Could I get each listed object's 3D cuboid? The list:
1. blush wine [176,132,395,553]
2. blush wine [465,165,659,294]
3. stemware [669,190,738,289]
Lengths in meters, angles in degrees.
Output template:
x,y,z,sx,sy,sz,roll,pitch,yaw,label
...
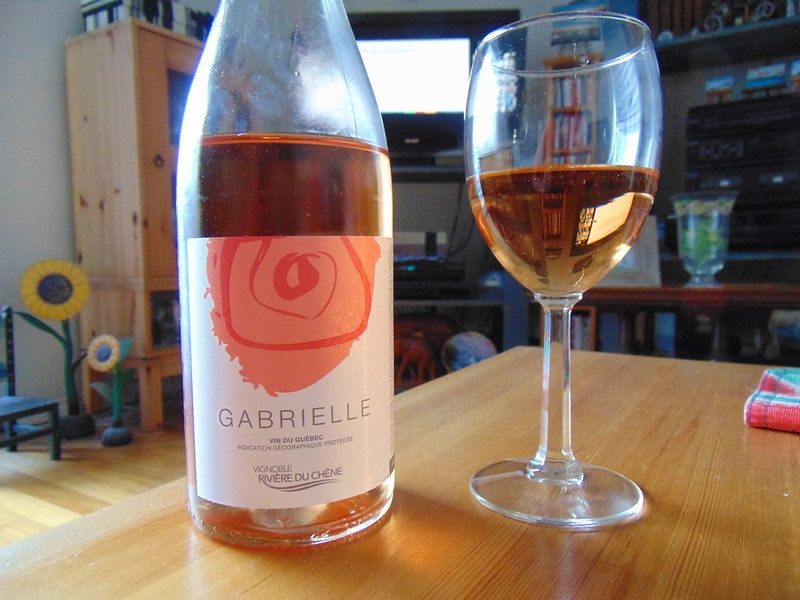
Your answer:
x,y,z,sx,sy,sz,roll,pitch,yaw,label
-0.068,0.016,0.462,0.150,0.255,0.111,-3,5,-10,blush wine
0.114,-0.053,0.470,0.100,0.068,0.098,-2,3,1,blush wine
0.962,-0.192,2.218,0.215,0.291,0.210,-5,4,-31,stemware
